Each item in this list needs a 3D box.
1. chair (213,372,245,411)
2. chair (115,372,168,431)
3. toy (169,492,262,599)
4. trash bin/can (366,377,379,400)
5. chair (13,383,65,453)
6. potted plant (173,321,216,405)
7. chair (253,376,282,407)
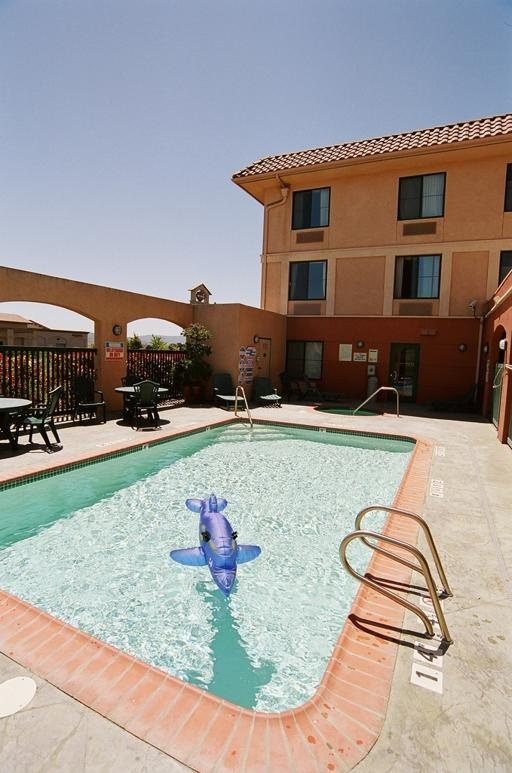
[{"bbox_3d":[-0.739,0.137,14.107,0.575,0.866,1.214,-3,8,-14],"label":"chair"},{"bbox_3d":[-2.324,0.431,10.810,1.094,1.309,0.903,0,24,-14],"label":"chair"},{"bbox_3d":[-0.349,1.350,4.510,0.534,0.272,0.799,1,27,-12],"label":"toy"},{"bbox_3d":[3.627,0.044,16.055,0.342,0.799,0.461,1,5,12],"label":"trash bin/can"},{"bbox_3d":[-3.501,0.488,8.505,0.641,0.960,0.599,3,6,12],"label":"chair"},{"bbox_3d":[-1.709,-0.627,14.678,1.148,2.210,0.821,-2,5,-21],"label":"potted plant"},{"bbox_3d":[0.414,0.154,15.017,0.618,0.830,0.899,-2,4,-14],"label":"chair"}]
